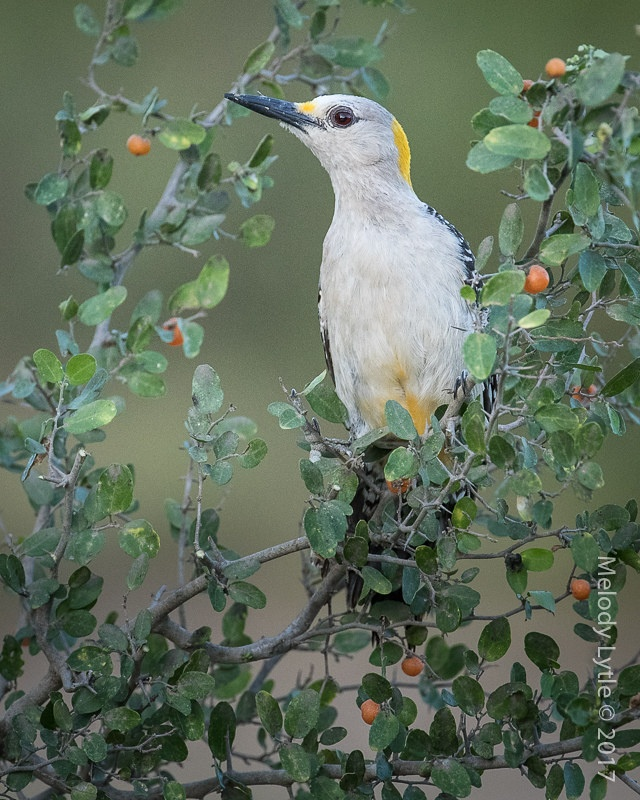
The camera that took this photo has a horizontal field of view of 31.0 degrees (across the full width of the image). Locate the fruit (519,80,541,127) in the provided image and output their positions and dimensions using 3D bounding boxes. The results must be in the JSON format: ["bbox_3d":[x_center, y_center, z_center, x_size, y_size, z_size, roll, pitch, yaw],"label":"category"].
[{"bbox_3d":[0.511,-0.702,2.769,0.043,0.149,0.054,1,4,19],"label":"fruit"}]

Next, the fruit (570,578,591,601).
[{"bbox_3d":[0.649,0.466,2.848,0.044,0.043,0.053,43,-48,-15],"label":"fruit"}]

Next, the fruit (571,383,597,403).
[{"bbox_3d":[0.692,-0.017,2.978,0.044,0.047,0.128,11,-5,1],"label":"fruit"}]

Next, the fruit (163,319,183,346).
[{"bbox_3d":[-0.384,-0.168,2.980,0.044,0.066,0.059,-18,-4,24],"label":"fruit"}]

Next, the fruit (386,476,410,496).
[{"bbox_3d":[0.210,0.243,3.206,0.077,0.033,0.087,-3,3,6],"label":"fruit"}]
